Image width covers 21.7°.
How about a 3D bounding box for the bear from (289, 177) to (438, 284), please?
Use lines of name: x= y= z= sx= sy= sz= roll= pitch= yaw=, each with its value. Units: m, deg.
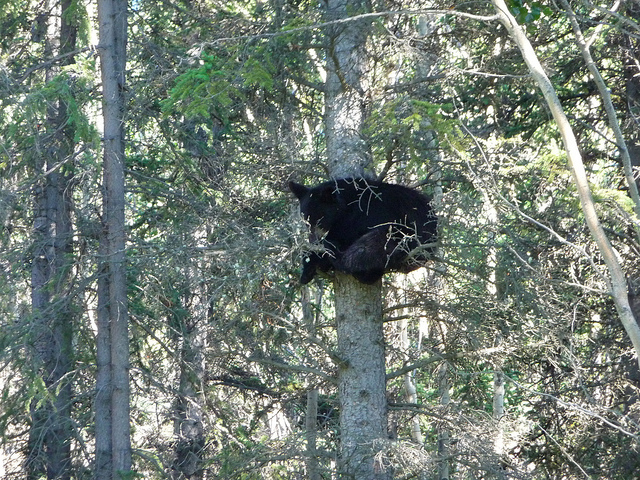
bear: x=0.635 y=-0.134 z=22.281 sx=1.653 sy=1.218 sz=1.189 roll=-13 pitch=-13 yaw=2
